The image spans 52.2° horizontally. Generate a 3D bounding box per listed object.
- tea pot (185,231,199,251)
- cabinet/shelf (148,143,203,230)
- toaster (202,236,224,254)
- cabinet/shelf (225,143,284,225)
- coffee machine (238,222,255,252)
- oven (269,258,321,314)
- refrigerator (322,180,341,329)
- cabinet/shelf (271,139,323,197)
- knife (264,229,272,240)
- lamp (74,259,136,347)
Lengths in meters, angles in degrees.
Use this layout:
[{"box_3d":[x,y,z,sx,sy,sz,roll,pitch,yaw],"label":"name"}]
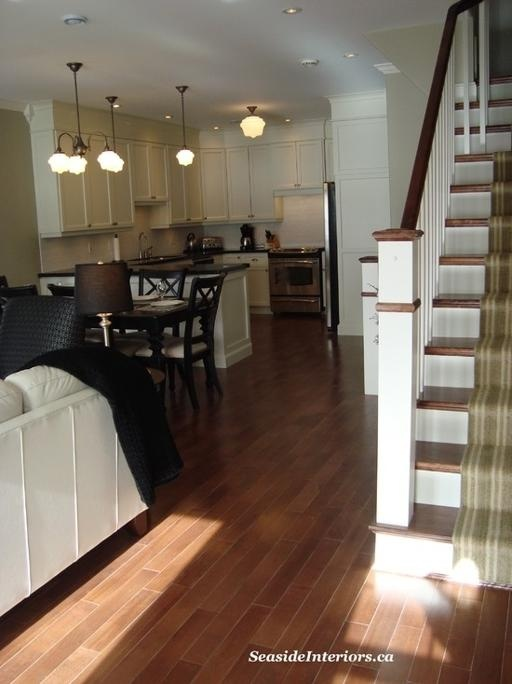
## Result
[{"box_3d":[-1.079,-1.638,8.619,0.221,0.318,0.195,-5,6,-9],"label":"tea pot"},{"box_3d":[-1.191,-2.245,7.474,0.461,1.350,1.248,2,10,17],"label":"cabinet/shelf"},{"box_3d":[-0.721,-1.645,8.856,0.410,0.308,0.408,4,17,9],"label":"toaster"},{"box_3d":[-0.028,-2.568,8.314,1.033,1.479,0.726,4,14,23],"label":"cabinet/shelf"},{"box_3d":[-0.144,-1.732,8.669,0.256,0.513,0.560,-4,6,0],"label":"coffee machine"},{"box_3d":[0.687,-0.872,8.378,0.911,1.213,0.823,1,8,15],"label":"oven"},{"box_3d":[0.965,-1.056,6.684,0.152,1.877,0.296,-4,6,1],"label":"refrigerator"},{"box_3d":[0.643,-2.697,7.984,0.770,0.726,0.394,5,14,29],"label":"cabinet/shelf"},{"box_3d":[0.215,-1.787,8.748,0.128,0.195,0.234,-4,6,2],"label":"knife"},{"box_3d":[-0.807,-0.279,2.744,0.289,0.257,0.134,-6,7,-18],"label":"lamp"}]
